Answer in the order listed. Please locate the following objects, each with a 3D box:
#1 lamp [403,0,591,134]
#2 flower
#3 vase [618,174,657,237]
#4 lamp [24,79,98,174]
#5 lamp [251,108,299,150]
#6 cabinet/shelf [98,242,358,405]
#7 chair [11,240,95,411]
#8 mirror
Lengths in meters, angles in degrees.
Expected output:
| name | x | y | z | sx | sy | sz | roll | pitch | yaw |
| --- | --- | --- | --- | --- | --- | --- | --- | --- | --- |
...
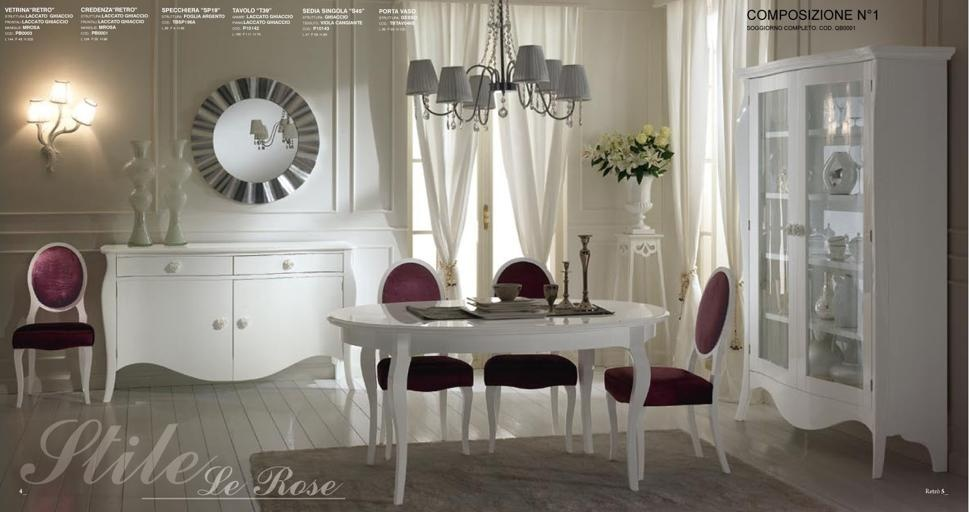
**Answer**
| name | x | y | z | sx | sy | sz | roll | pitch | yaw |
| --- | --- | --- | --- | --- | --- | --- | --- | --- | --- |
| lamp | 0.057 | -1.956 | 6.526 | 1.934 | 1.461 | 2.880 | 2 | 14 | 7 |
| flower | 1.682 | -1.187 | 7.503 | 0.878 | 0.536 | 0.782 | -6 | 22 | -13 |
| vase | 1.788 | -0.579 | 7.444 | 0.590 | 0.675 | 0.587 | -2 | 0 | 29 |
| lamp | -4.530 | -1.391 | 6.968 | 0.650 | 0.921 | 0.199 | -7 | 16 | -26 |
| lamp | -2.371 | -1.403 | 7.364 | 0.451 | 0.329 | 0.461 | 2 | 1 | 20 |
| cabinet/shelf | -2.756 | 0.660 | 6.903 | 2.507 | 1.540 | 0.380 | -3 | 15 | -11 |
| chair | -4.534 | 0.714 | 6.703 | 0.793 | 1.576 | 0.845 | -9 | 16 | -30 |
| mirror | -2.668 | -1.330 | 7.286 | 1.408 | 1.386 | 0.068 | 3 | 6 | -7 |
